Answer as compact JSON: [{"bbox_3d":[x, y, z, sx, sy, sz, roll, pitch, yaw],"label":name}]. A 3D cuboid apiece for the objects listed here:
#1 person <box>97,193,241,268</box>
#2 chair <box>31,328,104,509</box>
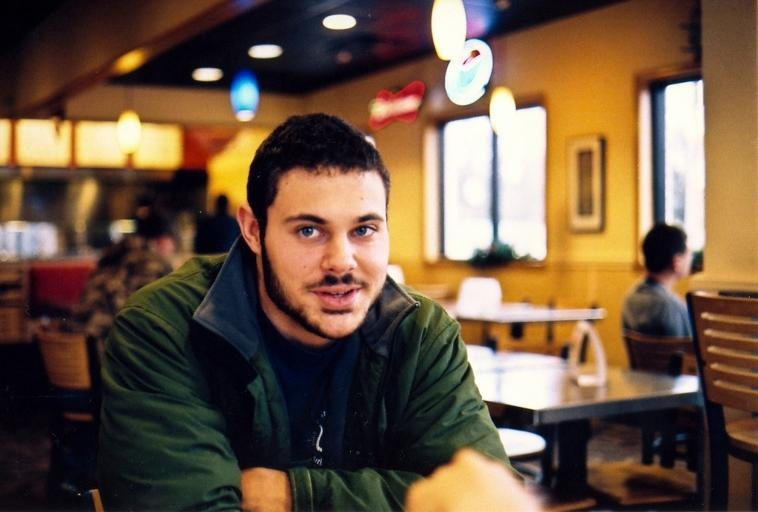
[{"bbox_3d":[-1.380,-0.196,5.291,0.806,0.314,0.837,1,5,24],"label":"person"},{"bbox_3d":[-1.268,0.644,2.963,0.226,0.715,0.373,-1,1,-22],"label":"chair"}]
